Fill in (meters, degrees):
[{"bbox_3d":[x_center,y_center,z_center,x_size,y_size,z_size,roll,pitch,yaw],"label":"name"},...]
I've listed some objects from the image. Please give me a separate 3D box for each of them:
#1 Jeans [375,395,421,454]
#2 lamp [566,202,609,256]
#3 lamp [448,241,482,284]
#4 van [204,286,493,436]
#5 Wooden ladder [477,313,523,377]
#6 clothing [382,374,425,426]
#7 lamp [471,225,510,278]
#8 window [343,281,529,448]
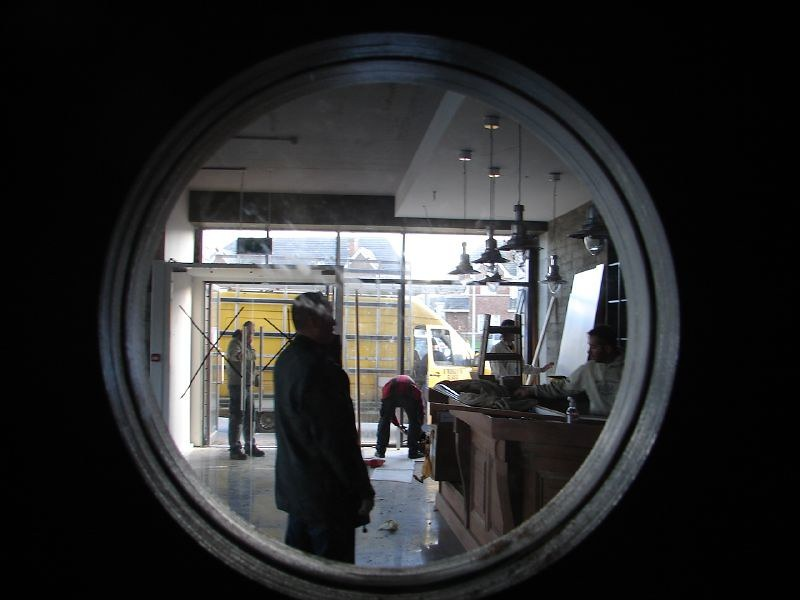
[{"bbox_3d":[-0.002,1.128,7.301,0.511,0.273,0.858,6,-32,2],"label":"Jeans"},{"bbox_3d":[1.105,-0.386,4.550,0.329,0.322,0.338,5,8,24],"label":"lamp"},{"bbox_3d":[0.493,-0.310,6.314,0.265,0.276,0.269,0,-4,-2],"label":"lamp"},{"bbox_3d":[-0.432,0.536,8.756,3.289,1.644,1.201,-1,0,-11],"label":"van"},{"bbox_3d":[0.806,0.369,6.447,0.279,0.906,0.298,3,29,15],"label":"Wooden ladder"},{"bbox_3d":[0.007,0.813,6.965,0.338,0.204,0.451,13,11,14],"label":"clothing"},{"bbox_3d":[0.620,-0.300,5.560,0.217,0.315,0.214,3,-14,-14],"label":"lamp"},{"bbox_3d":[0.299,0.634,8.591,0.913,1.467,2.723,-7,1,-44],"label":"window"}]
